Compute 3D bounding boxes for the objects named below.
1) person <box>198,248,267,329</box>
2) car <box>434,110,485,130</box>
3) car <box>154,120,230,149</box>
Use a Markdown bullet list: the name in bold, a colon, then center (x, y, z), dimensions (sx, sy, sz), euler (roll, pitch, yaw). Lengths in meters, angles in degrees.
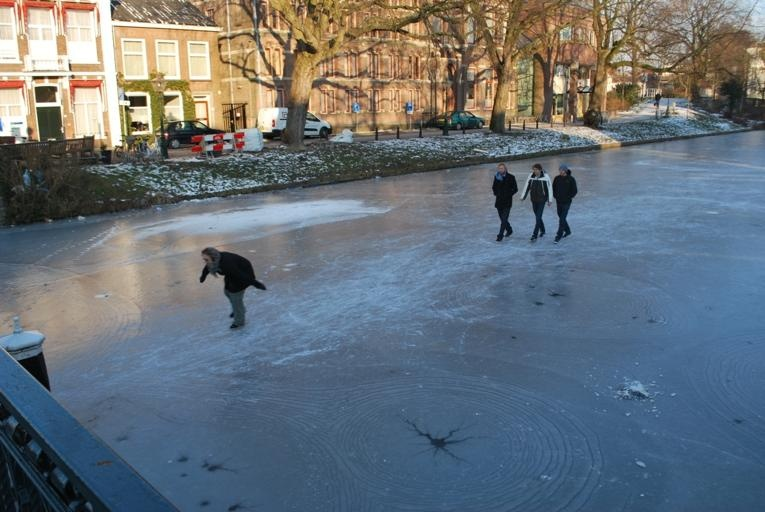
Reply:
- **person**: center (-2.751, 0.678, 12.500), dimensions (0.805, 1.244, 0.858), euler (-11, 32, -21)
- **car**: center (6.041, -10.564, 51.959), dimensions (2.063, 1.352, 5.232), euler (10, 18, 37)
- **car**: center (-11.233, -7.239, 39.408), dimensions (2.581, 1.462, 1.701), euler (-8, 16, -25)
